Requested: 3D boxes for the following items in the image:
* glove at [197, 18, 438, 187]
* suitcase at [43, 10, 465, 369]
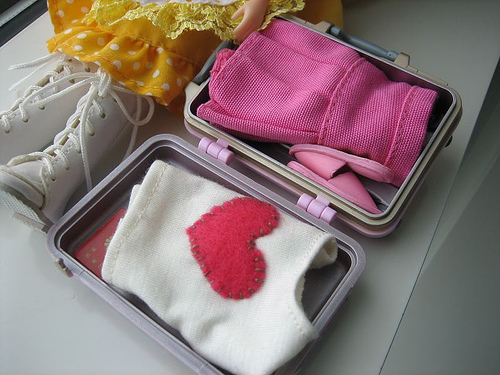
[{"bbox_3d":[0.136,-0.184,0.964,0.414,0.149,0.351,29,68,7],"label":"glove"},{"bbox_3d":[0.045,-0.017,0.909,0.569,0.195,0.854,31,73,15],"label":"suitcase"}]
